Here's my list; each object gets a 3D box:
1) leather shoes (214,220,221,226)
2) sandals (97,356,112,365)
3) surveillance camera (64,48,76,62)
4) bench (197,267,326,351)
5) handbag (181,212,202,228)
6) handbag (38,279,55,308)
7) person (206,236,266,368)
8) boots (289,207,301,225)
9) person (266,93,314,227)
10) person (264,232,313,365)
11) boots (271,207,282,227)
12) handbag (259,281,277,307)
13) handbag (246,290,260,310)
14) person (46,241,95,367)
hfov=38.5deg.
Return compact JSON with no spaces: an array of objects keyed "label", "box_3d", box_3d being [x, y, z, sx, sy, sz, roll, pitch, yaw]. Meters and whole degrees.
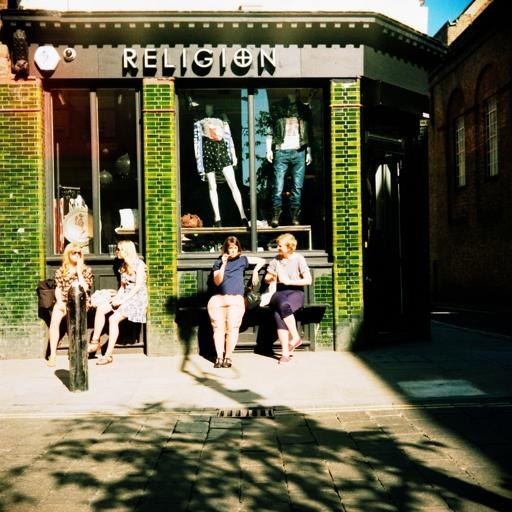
[{"label":"leather shoes","box_3d":[-0.566,-0.484,10.959,0.112,0.097,0.032,-1,4,-5]},{"label":"sandals","box_3d":[-2.010,1.418,9.801,0.092,0.079,0.182,-1,-8,37]},{"label":"surveillance camera","box_3d":[-2.625,-2.851,10.344,0.156,0.179,0.039,8,7,0]},{"label":"bench","box_3d":[0.094,0.937,10.774,1.682,1.289,0.759,-1,2,0]},{"label":"handbag","box_3d":[-0.944,-0.521,10.855,0.315,0.207,0.114,-1,5,-5]},{"label":"handbag","box_3d":[-2.877,0.533,10.122,0.266,0.413,0.220,-8,-18,15]},{"label":"person","box_3d":[-0.394,0.604,9.675,0.417,1.648,0.745,2,5,23]},{"label":"boots","box_3d":[0.597,-0.579,11.041,0.196,0.350,0.203,-2,3,-27]},{"label":"person","box_3d":[0.495,-1.557,11.118,0.601,2.409,0.493,2,-20,-2]},{"label":"person","box_3d":[0.433,0.580,10.061,0.618,1.724,0.888,2,5,23]},{"label":"boots","box_3d":[0.309,-0.586,11.026,0.093,0.324,0.187,5,5,2]},{"label":"handbag","box_3d":[0.166,0.555,10.085,0.117,0.343,0.247,18,-12,-26]},{"label":"handbag","box_3d":[-0.055,0.590,9.885,0.154,0.239,0.234,-1,-39,-5]},{"label":"person","box_3d":[-2.540,0.654,10.075,0.615,1.619,0.938,-1,5,-14]}]
